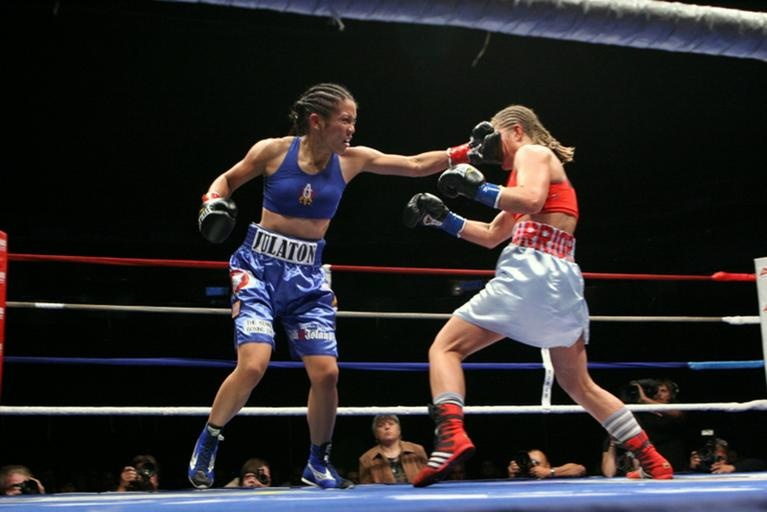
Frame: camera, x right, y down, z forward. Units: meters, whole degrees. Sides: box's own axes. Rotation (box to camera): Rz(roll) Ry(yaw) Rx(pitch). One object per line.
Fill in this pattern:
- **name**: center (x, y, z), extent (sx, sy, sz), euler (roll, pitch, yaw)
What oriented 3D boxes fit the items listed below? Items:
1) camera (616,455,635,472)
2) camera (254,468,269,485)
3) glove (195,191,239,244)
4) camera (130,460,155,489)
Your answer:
- **camera**: center (2.118, 1.823, 6.822), extent (0.151, 0.185, 0.074), euler (-3, -26, 22)
- **camera**: center (-1.035, 1.884, 6.622), extent (0.133, 0.108, 0.091), euler (2, -3, 22)
- **glove**: center (-1.151, -0.276, 5.375), extent (0.218, 0.247, 0.388), euler (20, -65, -21)
- **camera**: center (-1.969, 1.804, 6.384), extent (0.153, 0.097, 0.209), euler (7, -43, -18)
